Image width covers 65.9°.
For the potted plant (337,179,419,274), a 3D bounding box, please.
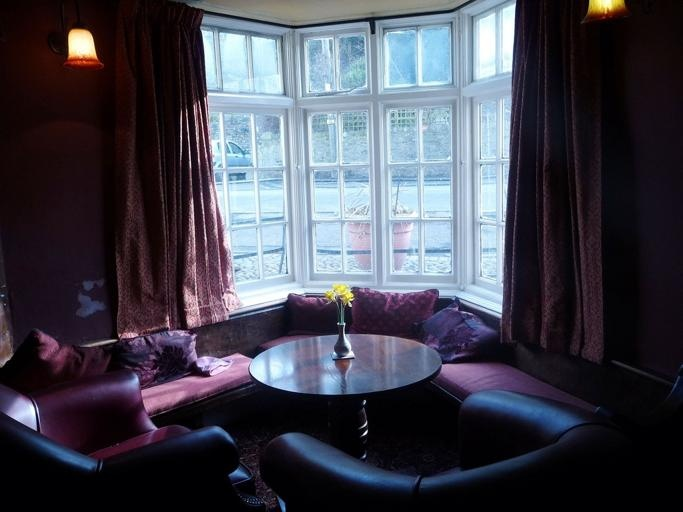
[{"bbox_3d":[0.309,-0.240,4.604,0.629,0.503,0.653,-1,4,-2],"label":"potted plant"}]
